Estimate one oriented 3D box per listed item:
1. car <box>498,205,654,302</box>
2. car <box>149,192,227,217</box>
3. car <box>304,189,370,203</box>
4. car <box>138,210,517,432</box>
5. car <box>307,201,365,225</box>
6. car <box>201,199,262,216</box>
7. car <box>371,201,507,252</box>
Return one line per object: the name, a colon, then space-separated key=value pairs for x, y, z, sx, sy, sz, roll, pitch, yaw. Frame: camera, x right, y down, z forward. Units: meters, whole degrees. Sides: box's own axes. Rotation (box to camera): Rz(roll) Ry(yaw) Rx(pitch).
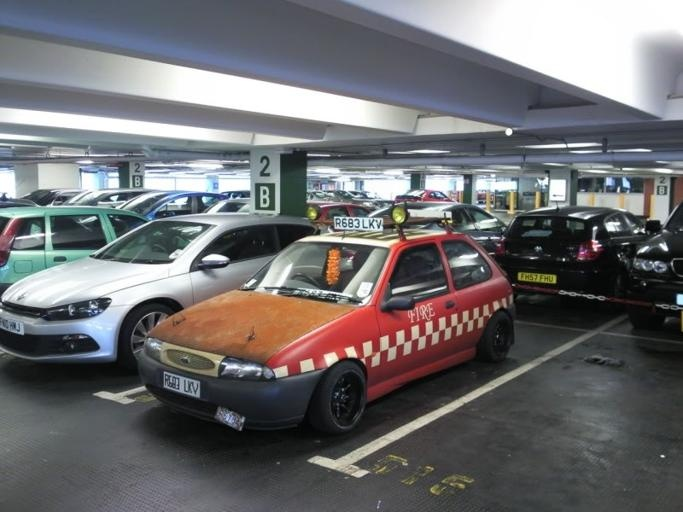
car: x=5.426 y=-0.242 z=9.491 sx=2.394 sy=1.581 sz=4.411 roll=9 pitch=16 yaw=44
car: x=-6.016 y=-2.028 z=16.273 sx=1.169 sy=0.727 sz=2.656 roll=1 pitch=3 yaw=45
car: x=-0.390 y=-4.396 z=30.245 sx=5.054 sy=1.315 sz=2.056 roll=-4 pitch=10 yaw=-29
car: x=0.141 y=0.471 z=4.590 sx=3.831 sy=1.406 sz=2.007 roll=-6 pitch=8 yaw=-39
car: x=-0.035 y=-1.466 z=14.601 sx=2.569 sy=0.697 sz=1.113 roll=-11 pitch=16 yaw=-43
car: x=-4.046 y=-1.922 z=15.787 sx=2.503 sy=0.683 sz=1.106 roll=-1 pitch=2 yaw=-39
car: x=3.273 y=-0.933 z=12.293 sx=4.160 sy=1.121 sz=1.832 roll=-6 pitch=9 yaw=-43
